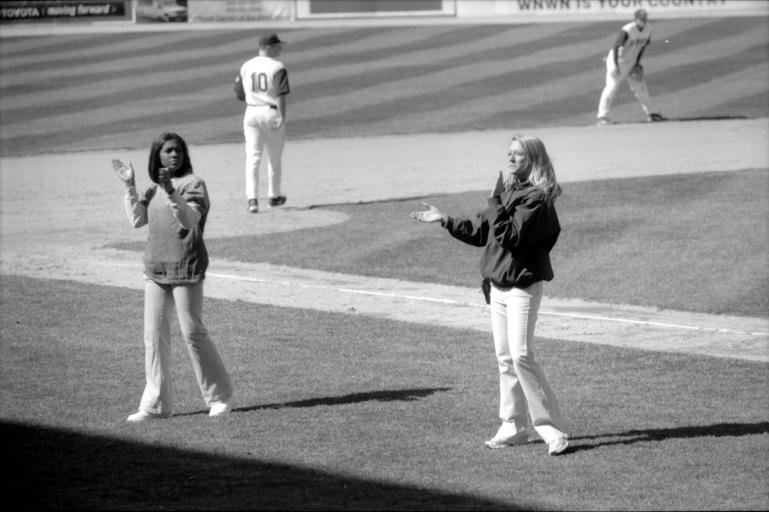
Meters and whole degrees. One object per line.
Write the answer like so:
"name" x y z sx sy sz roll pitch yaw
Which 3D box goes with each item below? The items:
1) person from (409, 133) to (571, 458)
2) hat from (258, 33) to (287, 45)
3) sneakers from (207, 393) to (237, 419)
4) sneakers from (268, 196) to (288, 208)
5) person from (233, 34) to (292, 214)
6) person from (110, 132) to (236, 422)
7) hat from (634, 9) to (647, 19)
"person" 1.036 0.297 8.949 0.642 2.377 0.395 1 4 8
"hat" -1.092 -2.078 11.393 0.168 0.086 0.126 -6 18 -14
"sneakers" -1.307 1.215 9.729 0.147 0.182 0.197 1 -5 8
"sneakers" -1.013 -0.518 11.474 0.164 0.072 0.086 -18 47 0
"person" -1.176 -1.157 11.464 0.507 1.473 0.174 0 4 -5
"person" -1.666 0.197 9.390 0.724 2.301 0.667 2 5 18
"hat" 2.465 -2.332 11.588 0.085 0.101 0.106 -1 5 3
